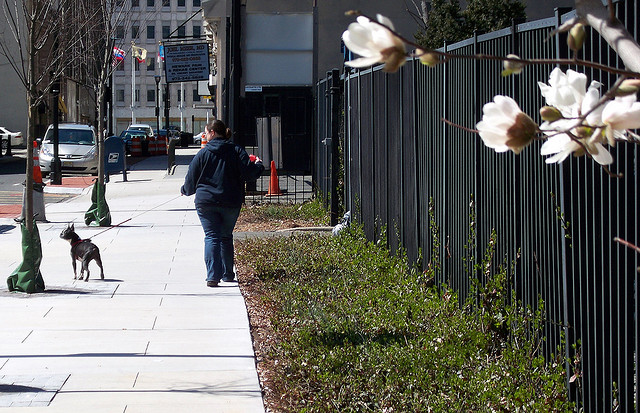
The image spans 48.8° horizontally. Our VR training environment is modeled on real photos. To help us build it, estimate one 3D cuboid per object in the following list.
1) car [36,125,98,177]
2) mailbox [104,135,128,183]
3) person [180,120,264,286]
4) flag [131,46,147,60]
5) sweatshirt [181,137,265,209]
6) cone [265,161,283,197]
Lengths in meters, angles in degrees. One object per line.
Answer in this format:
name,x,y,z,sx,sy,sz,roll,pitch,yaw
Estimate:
car,-9.264,-2.303,26.287,1.862,2.041,3.748,-1,1,-10
mailbox,-4.826,-1.125,16.622,0.471,1.039,1.674,-2,11,-17
person,-1.335,-0.053,9.633,1.008,2.169,0.636,-3,8,-17
flag,-15.180,-12.825,59.235,0.984,1.031,9.471,-2,11,-14
sweatshirt,-1.334,-0.463,9.609,1.052,0.934,0.442,-2,9,-14
cone,-1.130,-0.675,17.554,0.564,0.935,0.650,-1,5,-7
